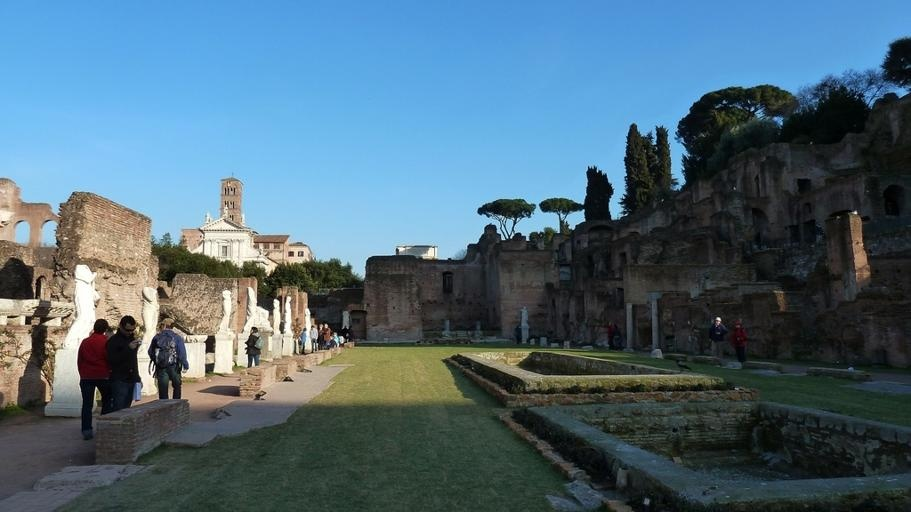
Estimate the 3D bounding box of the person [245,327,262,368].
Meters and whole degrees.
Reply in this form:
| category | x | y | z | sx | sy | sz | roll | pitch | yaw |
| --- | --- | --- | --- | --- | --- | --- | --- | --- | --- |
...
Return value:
| category | x | y | z | sx | sy | sz | roll | pitch | yaw |
| --- | --- | --- | --- | --- | --- | --- | --- | --- | --- |
| person | -7.843 | 3.518 | 27.210 | 0.451 | 1.478 | 0.891 | -1 | -10 | -19 |

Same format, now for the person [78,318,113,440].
| category | x | y | z | sx | sy | sz | roll | pitch | yaw |
| --- | --- | --- | --- | --- | --- | --- | --- | --- | --- |
| person | -10.567 | 3.606 | 20.488 | 0.842 | 3.469 | 0.887 | 0 | -11 | -24 |

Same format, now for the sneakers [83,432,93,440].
| category | x | y | z | sx | sy | sz | roll | pitch | yaw |
| --- | --- | --- | --- | --- | --- | --- | --- | --- | --- |
| sneakers | -10.697 | 5.219 | 20.389 | 0.279 | 0.224 | 0.219 | -1 | 3 | -45 |

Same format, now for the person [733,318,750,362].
| category | x | y | z | sx | sy | sz | roll | pitch | yaw |
| --- | --- | --- | --- | --- | --- | --- | --- | --- | --- |
| person | 11.692 | 3.543 | 28.875 | 0.488 | 1.746 | 0.900 | -8 | -11 | 21 |
